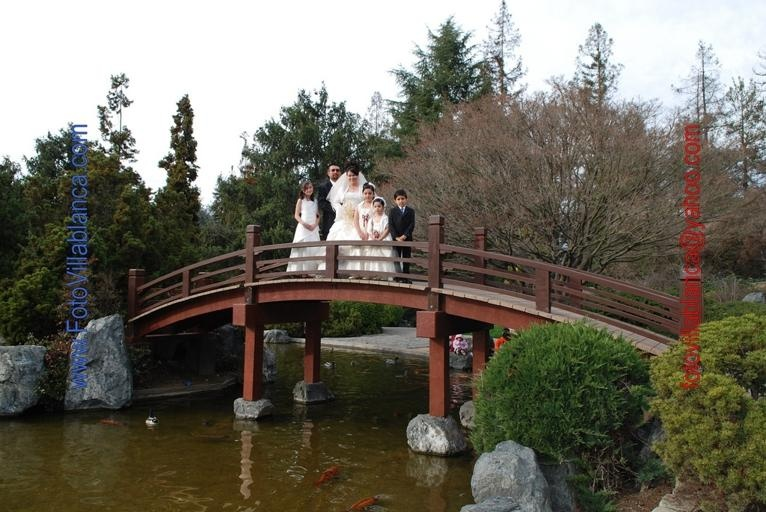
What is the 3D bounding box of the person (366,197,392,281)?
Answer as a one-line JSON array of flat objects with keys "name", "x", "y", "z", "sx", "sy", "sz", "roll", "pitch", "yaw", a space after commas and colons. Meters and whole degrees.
[{"name": "person", "x": -0.080, "y": -0.468, "z": 20.107, "sx": 0.761, "sy": 2.208, "sz": 1.146, "roll": -1, "pitch": 7, "yaw": -1}]
